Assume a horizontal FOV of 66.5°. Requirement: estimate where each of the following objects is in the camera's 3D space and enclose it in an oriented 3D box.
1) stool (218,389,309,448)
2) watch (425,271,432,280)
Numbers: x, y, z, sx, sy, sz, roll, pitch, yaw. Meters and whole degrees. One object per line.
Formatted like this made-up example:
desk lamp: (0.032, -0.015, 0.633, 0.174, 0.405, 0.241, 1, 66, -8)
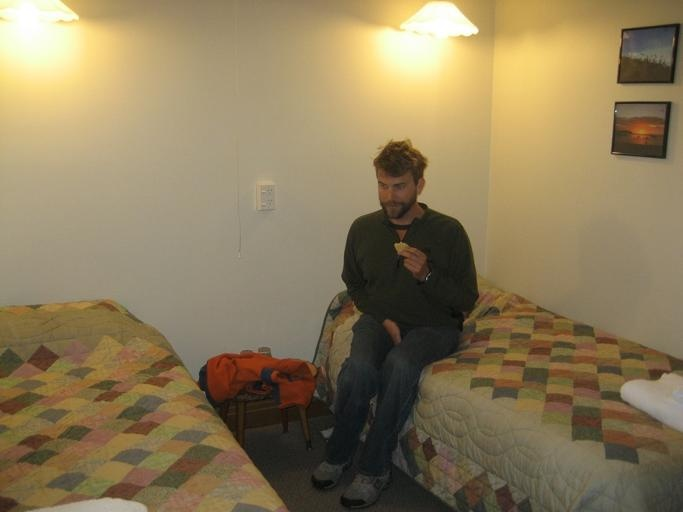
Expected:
stool: (-0.419, 0.808, 2.677, 0.395, 0.315, 0.371, -2, 2, -28)
watch: (0.399, 0.092, 2.366, 0.009, 0.035, 0.036, 25, -22, -31)
